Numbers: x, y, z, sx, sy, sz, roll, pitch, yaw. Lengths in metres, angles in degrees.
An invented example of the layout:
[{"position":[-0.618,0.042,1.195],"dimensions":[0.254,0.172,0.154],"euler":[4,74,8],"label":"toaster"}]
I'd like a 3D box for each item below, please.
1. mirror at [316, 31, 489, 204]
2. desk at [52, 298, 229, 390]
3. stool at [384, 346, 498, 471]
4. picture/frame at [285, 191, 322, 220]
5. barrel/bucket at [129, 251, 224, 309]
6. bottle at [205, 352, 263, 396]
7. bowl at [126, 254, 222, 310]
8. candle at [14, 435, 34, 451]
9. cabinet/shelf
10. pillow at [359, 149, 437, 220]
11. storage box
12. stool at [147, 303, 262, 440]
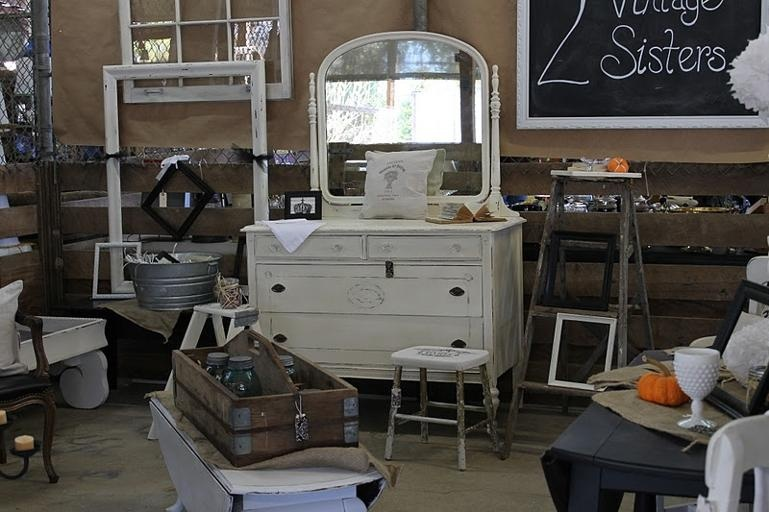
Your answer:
[{"position":[0.180,-0.990,4.727],"dimensions":[1.314,1.298,0.055],"euler":[0,-2,5],"label":"mirror"},{"position":[-1.681,0.571,4.447],"dimensions":[0.780,0.381,0.399],"euler":[0,0,3],"label":"desk"},{"position":[0.422,0.895,4.164],"dimensions":[0.731,0.751,0.652],"euler":[-1,0,31],"label":"stool"},{"position":[-0.585,-0.360,4.729],"dimensions":[0.209,0.171,0.014],"euler":[0,-4,1],"label":"picture/frame"},{"position":[-1.526,0.200,4.856],"dimensions":[0.679,0.335,0.608],"euler":[0,3,26],"label":"barrel/bucket"},{"position":[-0.656,0.472,2.724],"dimensions":[0.242,0.231,0.126],"euler":[1,6,17],"label":"bottle"},{"position":[-1.540,0.189,4.825],"dimensions":[0.585,0.313,0.600],"euler":[0,4,0],"label":"bowl"},{"position":[-1.953,1.005,3.578],"dimensions":[0.083,0.050,0.082],"euler":[-8,13,-42],"label":"candle"},{"position":[-0.027,0.403,4.695],"dimensions":[1.785,1.202,0.856],"euler":[0,0,17],"label":"cabinet/shelf"},{"position":[0.115,-0.494,4.631],"dimensions":[0.489,0.453,0.169],"euler":[2,-12,13],"label":"pillow"},{"position":[-0.537,0.524,2.730],"dimensions":[0.429,0.303,0.702],"euler":[-2,10,-35],"label":"storage box"},{"position":[-1.113,0.693,4.347],"dimensions":[0.595,0.753,0.610],"euler":[10,0,38],"label":"stool"}]
